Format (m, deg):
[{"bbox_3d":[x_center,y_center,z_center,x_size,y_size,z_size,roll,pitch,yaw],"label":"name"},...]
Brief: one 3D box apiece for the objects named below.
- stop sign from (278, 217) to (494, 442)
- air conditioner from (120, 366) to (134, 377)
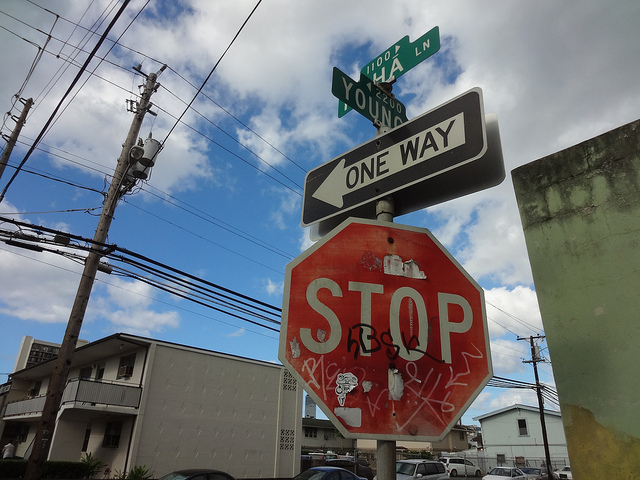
[{"bbox_3d":[0.356,0.492,2.541,1.335,1.485,0.081,5,-24,-13],"label":"stop sign"},{"bbox_3d":[-8.925,6.065,21.251,0.464,0.514,0.249,-14,-28,28],"label":"air conditioner"}]
